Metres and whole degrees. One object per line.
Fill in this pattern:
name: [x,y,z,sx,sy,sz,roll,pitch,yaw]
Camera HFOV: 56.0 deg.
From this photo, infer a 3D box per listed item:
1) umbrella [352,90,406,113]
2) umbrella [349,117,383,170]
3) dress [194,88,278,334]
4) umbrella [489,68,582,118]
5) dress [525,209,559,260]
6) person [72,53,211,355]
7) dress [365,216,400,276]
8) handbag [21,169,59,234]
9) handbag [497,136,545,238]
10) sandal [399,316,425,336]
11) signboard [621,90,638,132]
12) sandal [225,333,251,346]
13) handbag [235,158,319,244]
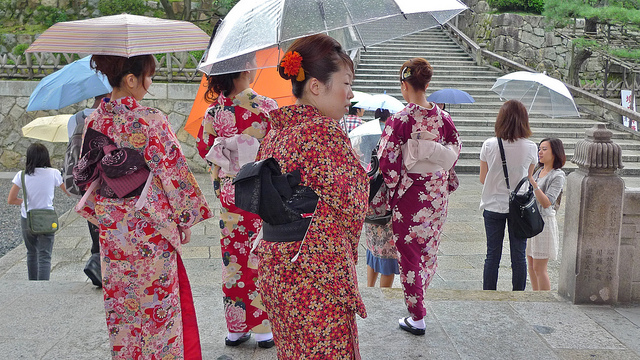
umbrella: [0.914,-1.169,9.162,0.597,0.241,0.543,0,3,-2]
umbrella: [0.750,-0.488,7.766,0.657,0.559,0.603,-5,0,-1]
dress: [-1.112,0.341,7.434,1.090,2.665,1.099,1,1,-26]
umbrella: [3.757,-1.627,10.519,1.507,0.635,1.380,-7,28,-20]
dress: [3.106,0.750,8.419,0.419,0.715,0.375,1,2,21]
person: [-1.942,0.297,6.592,1.340,3.350,0.594,-3,10,-8]
dress: [0.807,0.862,7.924,0.425,0.770,0.378,0,1,-2]
handbag: [-4.098,0.343,8.765,0.482,0.901,0.303,-2,10,-5]
handbag: [2.732,0.370,7.965,0.444,0.798,0.218,-1,10,2]
sandal: [1.122,1.796,7.357,0.121,0.103,0.298,-10,18,-44]
signboard: [8.681,-1.979,16.893,0.464,1.144,1.718,3,10,26]
sandal: [-0.981,1.909,7.195,0.264,0.087,0.123,-7,12,-34]
handbag: [-0.427,0.187,5.950,0.990,0.688,0.453,21,15,2]
